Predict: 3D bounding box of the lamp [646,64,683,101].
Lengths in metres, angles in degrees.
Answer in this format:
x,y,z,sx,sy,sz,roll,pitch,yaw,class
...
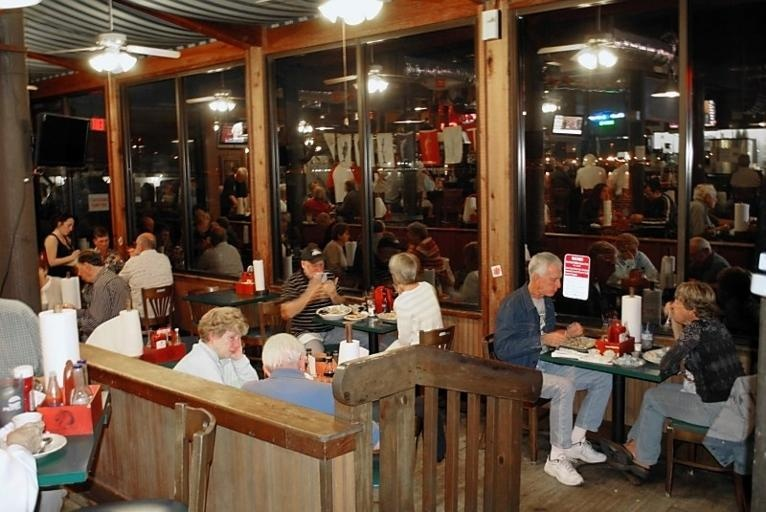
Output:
x,y,z,sx,sy,sz,roll,pitch,yaw,class
2.560,-1.573,5.699,0.095,0.299,0.278,-7,10,-27,lamp

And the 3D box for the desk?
x,y,z,sx,sy,sz,roll,pitch,yaw,class
0.637,-0.629,6.979,4.095,0.574,0.278,3,8,37,desk

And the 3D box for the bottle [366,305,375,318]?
x,y,z,sx,sy,sz,roll,pitch,yaw,class
-0.128,0.565,6.556,0.095,0.129,0.096,-2,6,0,bottle

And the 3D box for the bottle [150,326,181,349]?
x,y,z,sx,sy,sz,roll,pitch,yaw,class
-2.026,0.760,5.889,0.150,0.180,0.259,0,-2,32,bottle

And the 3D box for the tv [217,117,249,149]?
x,y,z,sx,sy,sz,roll,pitch,yaw,class
-2.052,-1.689,8.697,0.636,0.311,0.434,4,-12,-4,tv

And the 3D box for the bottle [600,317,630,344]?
x,y,z,sx,sy,sz,roll,pitch,yaw,class
1.993,0.642,5.413,0.202,0.354,0.197,3,-7,0,bottle

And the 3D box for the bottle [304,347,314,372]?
x,y,z,sx,sy,sz,roll,pitch,yaw,class
-0.588,0.823,4.913,0.055,0.141,0.109,2,4,-10,bottle

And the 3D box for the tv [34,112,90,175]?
x,y,z,sx,sy,sz,roll,pitch,yaw,class
-3.262,-1.191,6.521,0.870,0.514,0.093,11,5,32,tv

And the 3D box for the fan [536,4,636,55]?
x,y,z,sx,sy,sz,roll,pitch,yaw,class
1.884,-2.198,6.023,0.577,0.204,0.574,1,5,19,fan

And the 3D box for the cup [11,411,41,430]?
x,y,z,sx,sy,sz,roll,pitch,yaw,class
-2.023,0.920,3.577,0.119,0.092,0.108,2,0,-35,cup

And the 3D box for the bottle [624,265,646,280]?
x,y,z,sx,sy,sz,roll,pitch,yaw,class
2.413,0.156,6.031,0.128,0.092,0.127,0,3,0,bottle

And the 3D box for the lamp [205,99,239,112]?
x,y,z,sx,sy,sz,roll,pitch,yaw,class
-2.220,-2.065,8.650,0.178,0.163,0.487,-10,12,-40,lamp

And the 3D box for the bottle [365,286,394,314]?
x,y,z,sx,sy,sz,roll,pitch,yaw,class
-0.051,0.436,6.827,0.280,0.471,0.293,0,7,0,bottle

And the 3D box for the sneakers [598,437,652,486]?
x,y,z,sx,sy,sz,roll,pitch,yaw,class
1.994,1.696,5.322,0.200,0.178,0.493,-20,31,-21,sneakers

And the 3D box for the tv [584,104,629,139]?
x,y,z,sx,sy,sz,roll,pitch,yaw,class
2.122,-1.282,6.008,0.479,0.250,0.326,2,4,24,tv

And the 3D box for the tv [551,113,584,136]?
x,y,z,sx,sy,sz,roll,pitch,yaw,class
1.833,-1.307,6.225,0.240,0.164,0.025,9,13,35,tv

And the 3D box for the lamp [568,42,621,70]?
x,y,z,sx,sy,sz,roll,pitch,yaw,class
2.002,-1.883,5.958,0.398,0.221,0.251,1,10,21,lamp

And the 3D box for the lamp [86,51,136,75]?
x,y,z,sx,sy,sz,roll,pitch,yaw,class
-2.762,-1.998,6.416,0.338,0.202,0.471,-10,12,-41,lamp
